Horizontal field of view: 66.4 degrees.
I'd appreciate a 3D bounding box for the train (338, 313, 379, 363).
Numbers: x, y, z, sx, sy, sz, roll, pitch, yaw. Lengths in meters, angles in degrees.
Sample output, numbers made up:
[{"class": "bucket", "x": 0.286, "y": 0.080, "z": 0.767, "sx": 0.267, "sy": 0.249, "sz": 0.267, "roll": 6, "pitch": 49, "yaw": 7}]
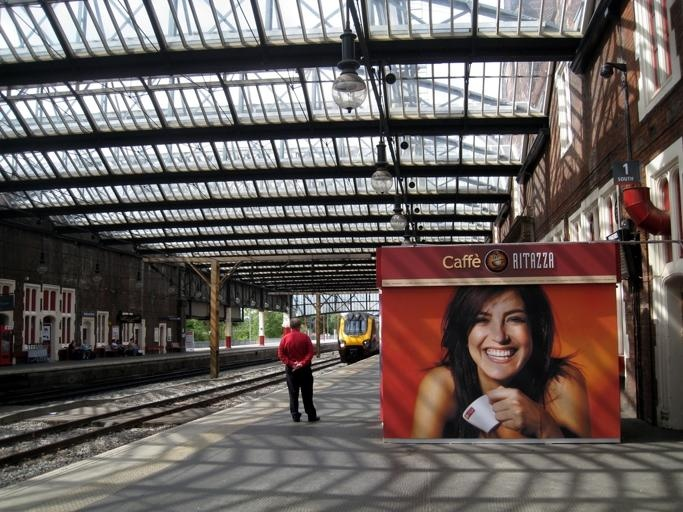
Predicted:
[{"class": "train", "x": 1.286, "y": 6.535, "z": 42.044, "sx": 2.060, "sy": 4.113, "sz": 4.130, "roll": -6, "pitch": -9, "yaw": 29}]
